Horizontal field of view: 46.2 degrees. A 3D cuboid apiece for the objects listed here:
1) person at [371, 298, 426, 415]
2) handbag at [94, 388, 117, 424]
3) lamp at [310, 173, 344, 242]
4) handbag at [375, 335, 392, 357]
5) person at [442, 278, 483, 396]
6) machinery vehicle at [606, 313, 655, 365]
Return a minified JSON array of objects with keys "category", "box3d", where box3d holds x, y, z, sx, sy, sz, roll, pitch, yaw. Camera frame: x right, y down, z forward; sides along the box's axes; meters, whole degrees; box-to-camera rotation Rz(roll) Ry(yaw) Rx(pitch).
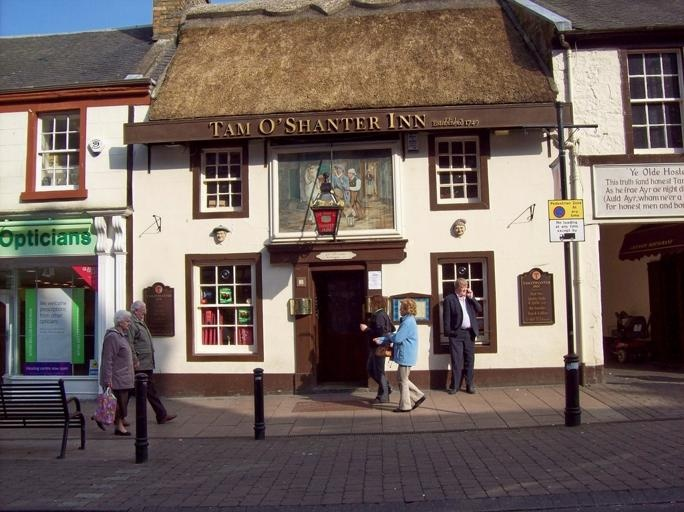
[{"category":"person","box3d":[1.206,1.937,15.676,0.841,2.196,0.587,-1,7,6]},{"category":"handbag","box3d":[-4.320,2.733,14.573,0.440,0.663,0.292,-6,8,-26]},{"category":"lamp","box3d":[-0.319,-0.982,16.880,0.627,1.214,0.631,-2,-10,9]},{"category":"handbag","box3d":[0.837,1.767,15.759,0.436,0.465,0.268,-2,-5,10]},{"category":"person","box3d":[2.527,1.669,16.701,0.702,2.336,0.494,-1,7,9]},{"category":"machinery vehicle","box3d":[7.654,2.017,20.488,0.868,1.089,1.750,-4,0,13]}]
